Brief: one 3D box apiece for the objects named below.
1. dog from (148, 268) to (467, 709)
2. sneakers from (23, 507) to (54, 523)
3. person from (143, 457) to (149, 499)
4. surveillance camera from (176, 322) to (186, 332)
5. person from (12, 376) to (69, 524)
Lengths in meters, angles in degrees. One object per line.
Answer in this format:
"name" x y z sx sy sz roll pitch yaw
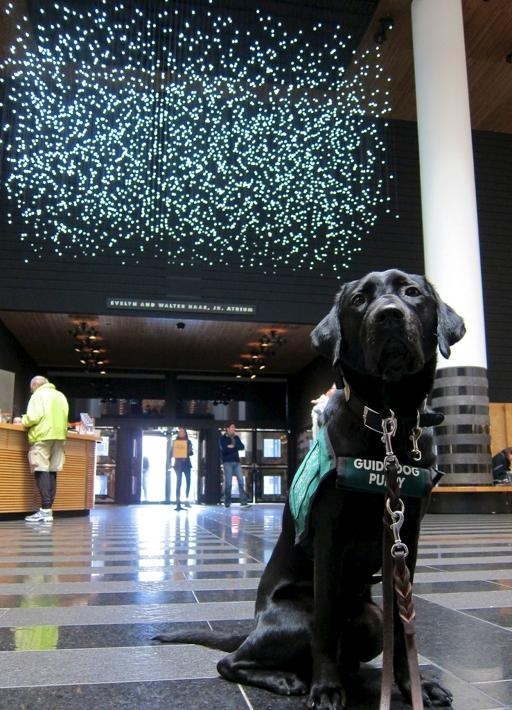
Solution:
"dog" 0.182 0.271 1.247 0.316 0.844 0.525 7 -13 -33
"sneakers" -2.660 1.934 7.235 0.408 0.195 0.145 4 -11 -7
"person" -3.263 3.629 17.775 0.212 1.255 0.475 2 -11 -10
"surveillance camera" -1.616 -0.651 12.919 0.170 0.037 0.152 -5 -32 6
"person" -2.606 1.138 7.361 0.512 1.755 0.389 4 -12 -19
